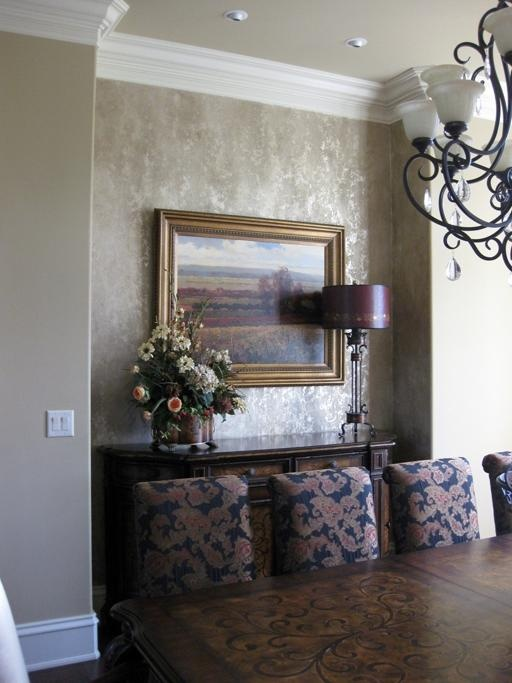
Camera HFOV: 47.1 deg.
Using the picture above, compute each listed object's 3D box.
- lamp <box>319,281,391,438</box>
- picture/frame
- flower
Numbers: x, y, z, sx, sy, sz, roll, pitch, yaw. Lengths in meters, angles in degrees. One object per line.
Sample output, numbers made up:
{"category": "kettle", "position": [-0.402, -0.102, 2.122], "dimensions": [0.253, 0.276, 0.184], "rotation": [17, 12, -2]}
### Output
{"category": "lamp", "position": [0.584, 0.114, 3.679], "dimensions": [0.409, 0.912, 0.566], "rotation": [4, 1, 6]}
{"category": "picture/frame", "position": [-0.084, -0.271, 3.487], "dimensions": [1.230, 0.967, 0.084], "rotation": [0, 0, -30]}
{"category": "flower", "position": [-0.350, 0.176, 3.161], "dimensions": [0.633, 0.688, 0.467], "rotation": [-4, 7, 4]}
